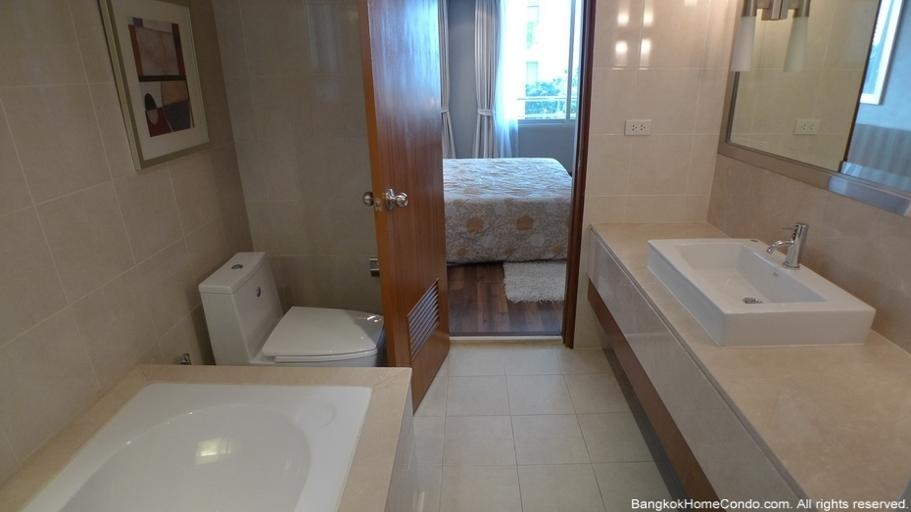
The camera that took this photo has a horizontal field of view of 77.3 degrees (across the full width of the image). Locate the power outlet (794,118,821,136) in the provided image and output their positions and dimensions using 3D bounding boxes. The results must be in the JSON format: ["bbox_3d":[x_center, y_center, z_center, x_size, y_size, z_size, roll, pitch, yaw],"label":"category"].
[{"bbox_3d":[1.845,-0.672,2.978,0.015,0.078,0.110,-13,25,-26],"label":"power outlet"}]

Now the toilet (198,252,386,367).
[{"bbox_3d":[-0.955,0.264,3.658,1.034,0.972,0.588,1,23,1],"label":"toilet"}]

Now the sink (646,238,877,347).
[{"bbox_3d":[1.470,0.192,2.684,0.588,0.177,0.763,-3,20,-2],"label":"sink"}]
